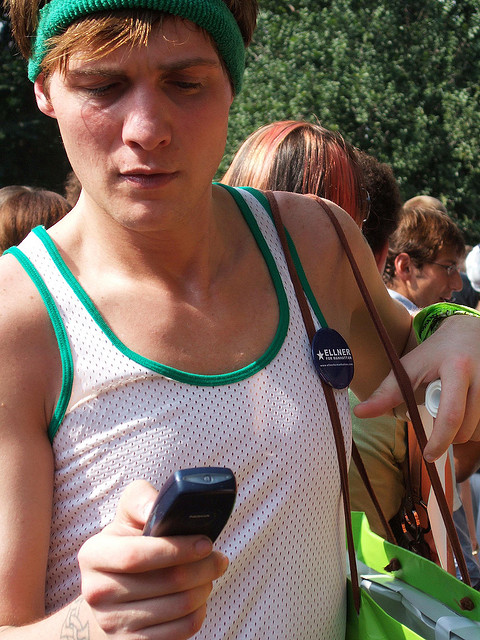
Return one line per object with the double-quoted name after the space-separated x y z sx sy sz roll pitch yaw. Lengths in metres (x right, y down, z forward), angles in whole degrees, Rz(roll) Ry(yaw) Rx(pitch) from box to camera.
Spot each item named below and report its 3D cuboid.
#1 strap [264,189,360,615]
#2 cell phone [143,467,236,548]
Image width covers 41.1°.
0.157 0.127 1.249 0.022 0.207 0.679 -17 73 18 "strap"
-0.057 0.233 0.758 0.091 0.160 0.038 0 48 -18 "cell phone"
